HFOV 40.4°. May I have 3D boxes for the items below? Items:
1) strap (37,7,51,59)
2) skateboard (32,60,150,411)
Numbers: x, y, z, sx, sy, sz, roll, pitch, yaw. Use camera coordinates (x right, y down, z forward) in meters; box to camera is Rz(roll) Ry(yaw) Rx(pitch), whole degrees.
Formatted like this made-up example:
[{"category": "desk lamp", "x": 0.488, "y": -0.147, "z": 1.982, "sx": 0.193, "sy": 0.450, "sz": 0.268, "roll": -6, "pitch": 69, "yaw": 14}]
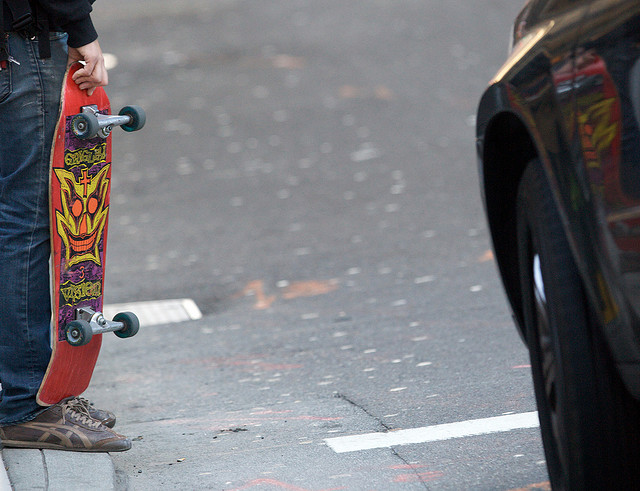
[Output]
[{"category": "strap", "x": -0.938, "y": -0.740, "z": 2.972, "sx": 0.039, "sy": 0.152, "sz": 0.035, "roll": -13, "pitch": 12, "yaw": -33}, {"category": "skateboard", "x": -0.949, "y": -0.029, "z": 3.203, "sx": 0.260, "sy": 1.162, "sz": 0.391, "roll": 9, "pitch": 6, "yaw": 29}]
